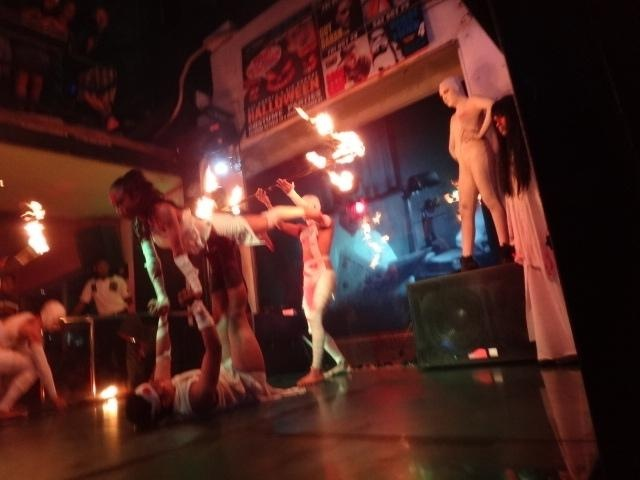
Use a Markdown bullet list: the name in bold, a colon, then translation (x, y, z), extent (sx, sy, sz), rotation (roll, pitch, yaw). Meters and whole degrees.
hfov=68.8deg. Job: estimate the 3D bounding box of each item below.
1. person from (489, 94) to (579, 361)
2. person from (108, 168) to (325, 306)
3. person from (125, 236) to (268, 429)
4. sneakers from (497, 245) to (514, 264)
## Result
- **person**: translation (1.628, -0.189, 3.638), extent (0.339, 1.446, 0.517), rotation (-8, -6, 22)
- **person**: translation (-0.762, -0.006, 3.765), extent (1.702, 1.064, 0.503), rotation (2, -16, -25)
- **person**: translation (-0.743, 0.602, 3.159), extent (0.911, 0.938, 0.712), rotation (4, -45, -35)
- **sneakers**: translation (1.569, 0.124, 3.924), extent (0.127, 0.234, 0.118), rotation (0, 0, 26)
